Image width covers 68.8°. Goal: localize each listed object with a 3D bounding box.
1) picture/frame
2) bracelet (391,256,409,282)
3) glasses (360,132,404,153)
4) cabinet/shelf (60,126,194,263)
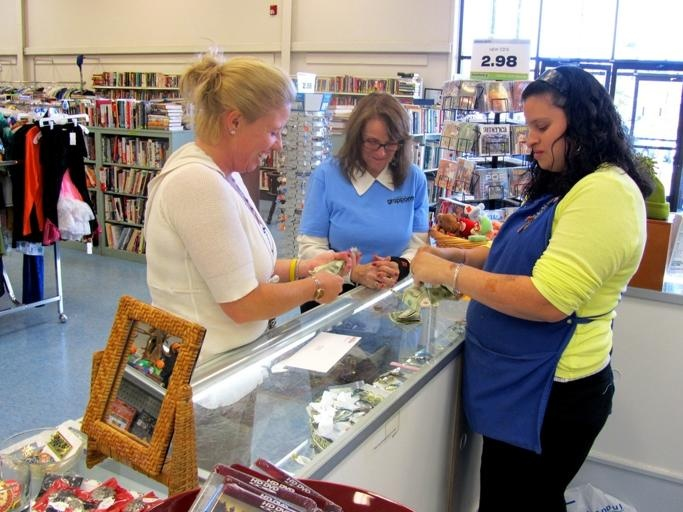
[{"bbox_3d":[-0.434,0.303,1.091,0.326,0.390,0.128,9,17,31],"label":"picture/frame"},{"bbox_3d":[0.293,0.061,2.385,0.113,0.108,0.087,-7,12,-21],"label":"bracelet"},{"bbox_3d":[0.195,-0.556,2.468,0.173,0.064,0.069,-1,15,-5],"label":"glasses"},{"bbox_3d":[-3.510,-0.969,7.541,2.004,1.889,0.547,5,12,5],"label":"cabinet/shelf"}]
